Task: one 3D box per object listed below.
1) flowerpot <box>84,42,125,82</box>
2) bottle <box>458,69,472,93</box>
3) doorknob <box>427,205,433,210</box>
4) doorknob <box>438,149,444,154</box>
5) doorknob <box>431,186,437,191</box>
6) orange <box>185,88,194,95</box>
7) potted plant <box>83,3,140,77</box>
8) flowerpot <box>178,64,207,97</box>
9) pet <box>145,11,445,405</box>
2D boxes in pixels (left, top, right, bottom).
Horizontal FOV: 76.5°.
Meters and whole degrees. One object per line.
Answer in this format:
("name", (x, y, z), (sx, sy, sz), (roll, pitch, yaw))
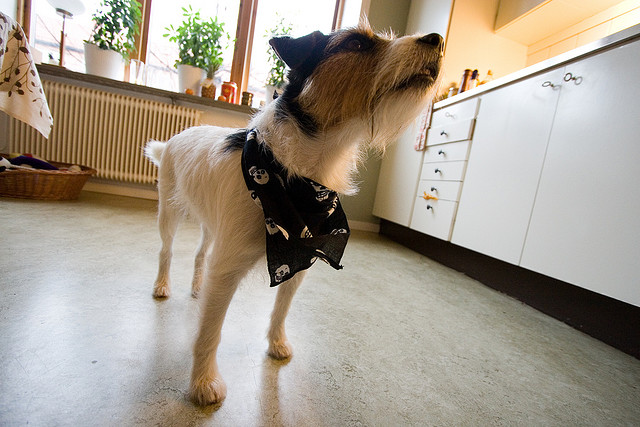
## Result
("flowerpot", (-2.207, -1.545, 4.150), (0.368, 0.289, 0.161), (4, 10, -33))
("bottle", (1.403, -1.273, 3.895), (0.101, 0.239, 0.101), (9, 9, -1))
("doorknob", (1.020, -0.057, 3.766), (0.048, 0.028, 0.028), (9, -33, 18))
("doorknob", (1.123, -0.570, 3.744), (0.041, 0.055, 0.018), (-2, -13, 27))
("doorknob", (1.058, -0.231, 3.753), (0.053, 0.033, 0.032), (16, -29, -38))
("orange", (-1.377, -1.298, 4.315), (0.075, 0.078, 0.079), (-9, -9, -5))
("potted plant", (-2.113, -1.780, 4.116), (0.463, 0.767, 0.274), (4, 10, -32))
("flowerpot", (-1.384, -1.445, 4.475), (0.292, 0.290, 0.320), (20, 20, 22))
("pet", (-0.297, -0.067, 2.057), (1.383, 1.837, 0.776), (14, 10, 29))
